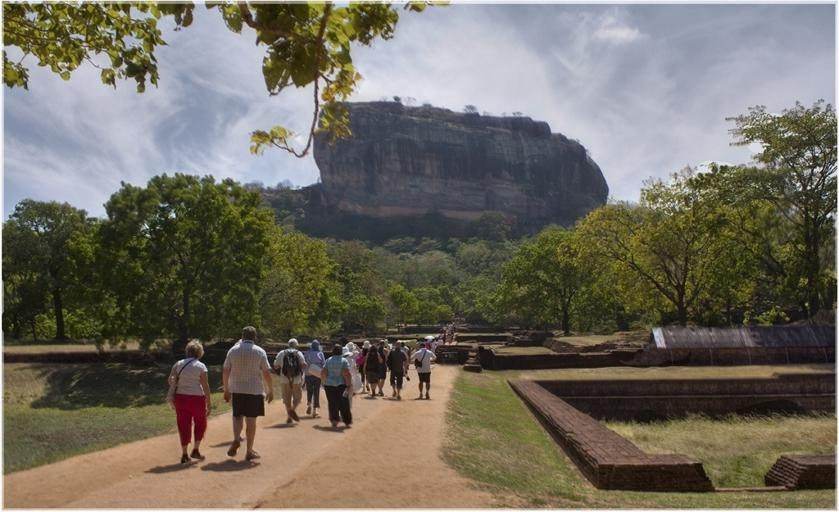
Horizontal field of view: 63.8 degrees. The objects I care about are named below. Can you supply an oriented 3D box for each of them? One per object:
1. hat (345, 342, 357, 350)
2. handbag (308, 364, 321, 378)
[{"bbox_3d":[-3.802,5.113,38.621,0.635,0.476,0.828,11,-21,-4],"label":"hat"},{"bbox_3d":[-5.142,5.627,33.317,0.848,0.650,0.489,1,-7,13],"label":"handbag"}]
